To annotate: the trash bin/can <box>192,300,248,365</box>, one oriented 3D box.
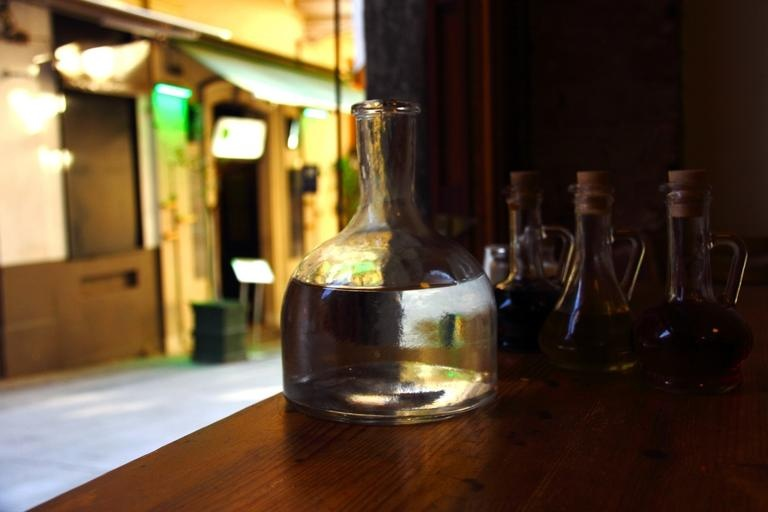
[{"bbox_3d":[-0.633,0.304,2.814,0.193,0.247,0.358,0,-1,12],"label":"trash bin/can"}]
